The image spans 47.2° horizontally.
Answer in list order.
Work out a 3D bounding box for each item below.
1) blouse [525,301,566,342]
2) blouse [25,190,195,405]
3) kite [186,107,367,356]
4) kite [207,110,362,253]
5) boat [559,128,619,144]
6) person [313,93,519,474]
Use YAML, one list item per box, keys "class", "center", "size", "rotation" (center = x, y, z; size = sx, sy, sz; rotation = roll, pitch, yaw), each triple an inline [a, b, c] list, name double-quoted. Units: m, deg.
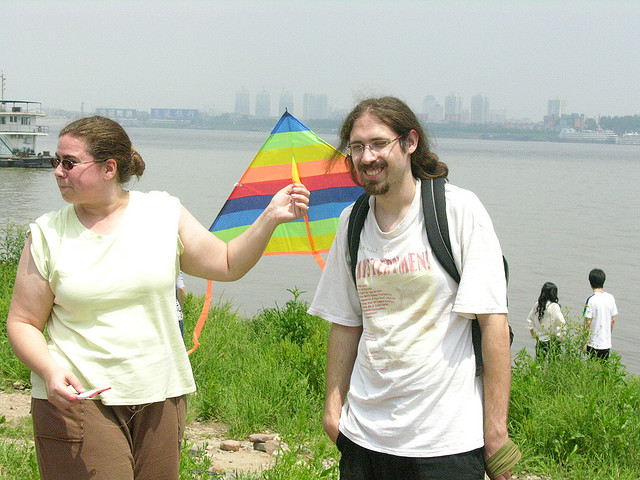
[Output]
- class: "blouse"
  center: [3.434, 1.242, 11.157]
  size: [0.644, 0.542, 0.232]
  rotation: [-6, -3, 44]
- class: "blouse"
  center: [-1.325, 0.244, 4.763]
  size: [0.969, 1.290, 0.714]
  rotation: [-2, 26, -13]
- class: "kite"
  center: [0.147, 0.249, 10.107]
  size: [2.818, 1.679, 2.774]
  rotation: [13, -17, -35]
- class: "kite"
  center: [-0.330, -0.718, 9.585]
  size: [2.437, 1.892, 0.023]
  rotation: [-14, 19, -14]
- class: "boat"
  center: [94.712, -35.875, 255.810]
  size: [18.005, 6.385, 22.294]
  rotation: [3, 14, 31]
- class: "person"
  center: [0.587, 0.268, 4.632]
  size: [1.288, 2.275, 0.830]
  rotation: [0, 11, 20]
